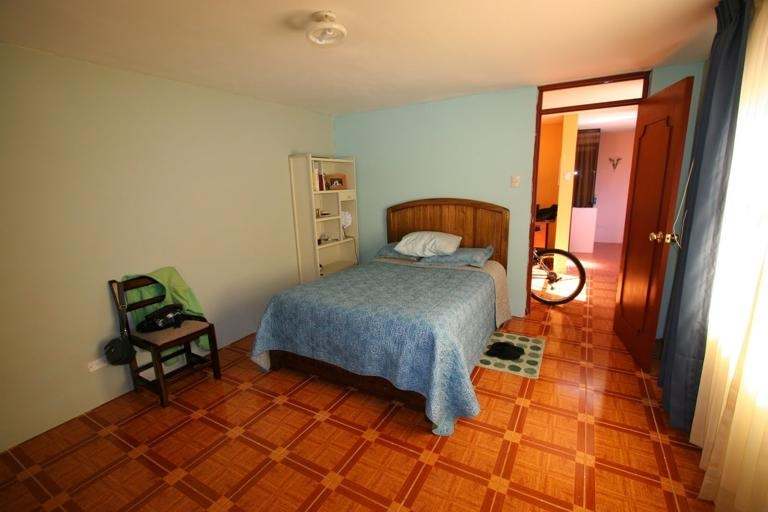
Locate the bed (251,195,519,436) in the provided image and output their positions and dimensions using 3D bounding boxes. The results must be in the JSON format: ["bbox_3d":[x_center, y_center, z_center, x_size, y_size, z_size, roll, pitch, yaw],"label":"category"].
[{"bbox_3d":[0.107,0.749,4.731,2.054,0.991,1.718,6,15,26],"label":"bed"}]

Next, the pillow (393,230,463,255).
[{"bbox_3d":[0.478,-0.132,5.424,0.419,0.132,0.420,-1,12,23],"label":"pillow"}]

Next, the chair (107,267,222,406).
[{"bbox_3d":[-1.972,0.711,4.349,0.765,1.110,0.535,-13,18,-37],"label":"chair"}]

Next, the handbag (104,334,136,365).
[{"bbox_3d":[-2.350,0.862,4.199,0.210,0.313,0.256,-13,18,-38],"label":"handbag"}]

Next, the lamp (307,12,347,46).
[{"bbox_3d":[-0.450,-1.732,3.605,0.286,0.210,0.205,-2,14,-5],"label":"lamp"}]

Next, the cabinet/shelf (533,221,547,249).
[{"bbox_3d":[2.367,-0.332,7.185,0.221,0.376,0.399,2,18,22],"label":"cabinet/shelf"}]
